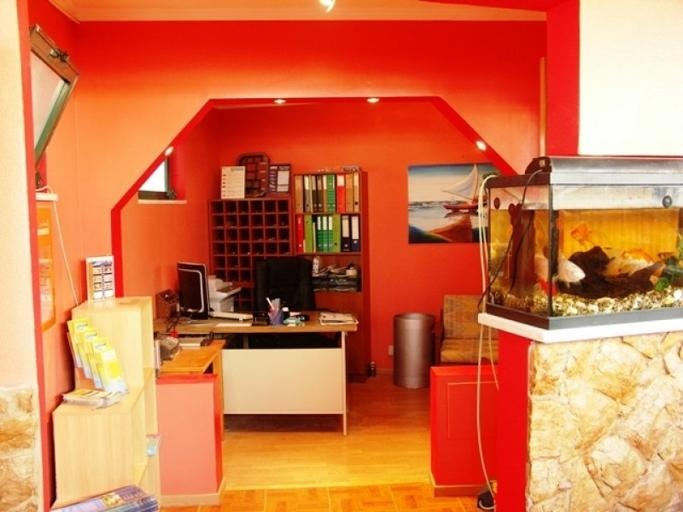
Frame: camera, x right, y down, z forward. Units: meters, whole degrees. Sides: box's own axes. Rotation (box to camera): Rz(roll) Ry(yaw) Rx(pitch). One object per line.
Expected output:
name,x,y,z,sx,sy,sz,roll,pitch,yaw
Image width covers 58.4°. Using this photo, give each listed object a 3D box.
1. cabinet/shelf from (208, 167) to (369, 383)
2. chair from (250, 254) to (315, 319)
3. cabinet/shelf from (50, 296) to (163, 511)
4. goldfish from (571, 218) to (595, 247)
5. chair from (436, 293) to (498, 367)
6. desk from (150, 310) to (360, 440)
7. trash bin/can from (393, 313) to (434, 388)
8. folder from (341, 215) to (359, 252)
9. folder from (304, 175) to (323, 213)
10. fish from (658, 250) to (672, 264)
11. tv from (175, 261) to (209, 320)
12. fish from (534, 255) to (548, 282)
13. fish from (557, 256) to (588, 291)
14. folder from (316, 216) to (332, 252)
cabinet/shelf,-0.782,-0.188,7.159,1.462,1.845,0.463,-10,-41,-4
chair,-0.577,0.442,6.222,0.670,0.986,0.834,-2,-10,-6
cabinet/shelf,-1.397,1.004,3.617,0.557,1.327,0.921,-3,8,-12
goldfish,1.074,-0.094,2.729,0.078,0.113,0.118,0,-1,10
chair,1.273,0.737,6.160,0.566,0.563,0.780,0,7,9
desk,-0.614,1.023,5.240,1.199,0.597,1.177,0,3,1
trash bin/can,0.788,1.049,6.644,0.428,0.736,0.254,0,8,8
folder,0.096,-0.246,6.822,0.206,0.402,0.051,-1,8,-2
folder,-0.318,-0.694,6.821,0.215,0.430,0.072,-2,8,-6
fish,1.504,0.009,2.830,0.092,0.060,0.017,-5,9,-30
tv,-1.404,0.347,5.719,0.499,0.483,0.148,7,13,38
fish,0.900,0.052,2.748,0.015,0.117,0.084,-4,8,-18
fish,1.029,0.079,2.739,0.137,0.135,0.024,-3,8,-19
folder,-0.195,-0.253,6.859,0.220,0.361,0.379,0,5,3
